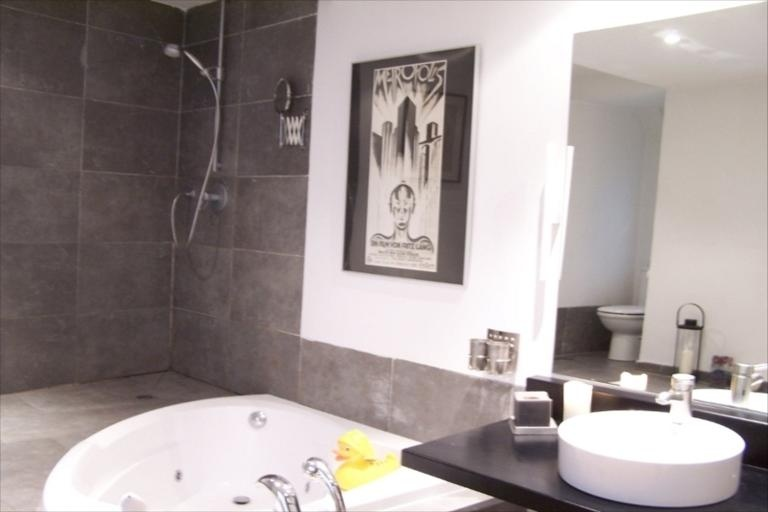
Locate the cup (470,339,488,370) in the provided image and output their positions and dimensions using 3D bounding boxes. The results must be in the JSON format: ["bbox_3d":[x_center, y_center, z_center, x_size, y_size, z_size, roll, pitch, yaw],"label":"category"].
[{"bbox_3d":[0.459,0.486,2.825,0.046,0.149,0.093,2,4,-35],"label":"cup"}]

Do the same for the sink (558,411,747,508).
[{"bbox_3d":[0.939,0.705,2.069,0.615,0.247,0.410,5,3,17],"label":"sink"}]

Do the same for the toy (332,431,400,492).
[{"bbox_3d":[-0.104,0.982,2.817,0.338,0.242,0.173,5,-15,-35],"label":"toy"}]
